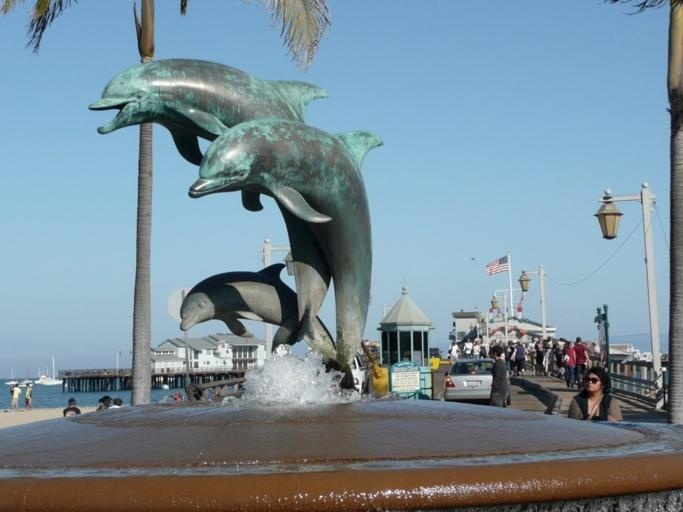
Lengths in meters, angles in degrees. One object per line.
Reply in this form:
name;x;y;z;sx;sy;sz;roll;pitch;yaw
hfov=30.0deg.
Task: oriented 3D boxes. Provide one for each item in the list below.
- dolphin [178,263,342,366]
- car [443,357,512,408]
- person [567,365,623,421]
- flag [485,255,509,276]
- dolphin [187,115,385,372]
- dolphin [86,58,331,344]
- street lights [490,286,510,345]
dolphin;-0.838;0.611;14.056;1.882;0.947;0.653;9;-5;-10
car;2.896;2.701;27.744;1.346;1.042;3.018;-1;0;9
person;2.767;1.561;13.809;0.602;0.832;0.577;-11;-22;31
flag;5.722;0.363;45.602;0.730;0.802;0.106;0;5;-17
dolphin;-0.516;-0.185;13.787;2.072;2.986;0.801;5;11;-28
dolphin;-1.229;-1.547;13.953;2.881;1.159;0.893;2;-5;-32
street lights;6.312;2.469;50.237;0.688;2.322;0.381;2;31;15
